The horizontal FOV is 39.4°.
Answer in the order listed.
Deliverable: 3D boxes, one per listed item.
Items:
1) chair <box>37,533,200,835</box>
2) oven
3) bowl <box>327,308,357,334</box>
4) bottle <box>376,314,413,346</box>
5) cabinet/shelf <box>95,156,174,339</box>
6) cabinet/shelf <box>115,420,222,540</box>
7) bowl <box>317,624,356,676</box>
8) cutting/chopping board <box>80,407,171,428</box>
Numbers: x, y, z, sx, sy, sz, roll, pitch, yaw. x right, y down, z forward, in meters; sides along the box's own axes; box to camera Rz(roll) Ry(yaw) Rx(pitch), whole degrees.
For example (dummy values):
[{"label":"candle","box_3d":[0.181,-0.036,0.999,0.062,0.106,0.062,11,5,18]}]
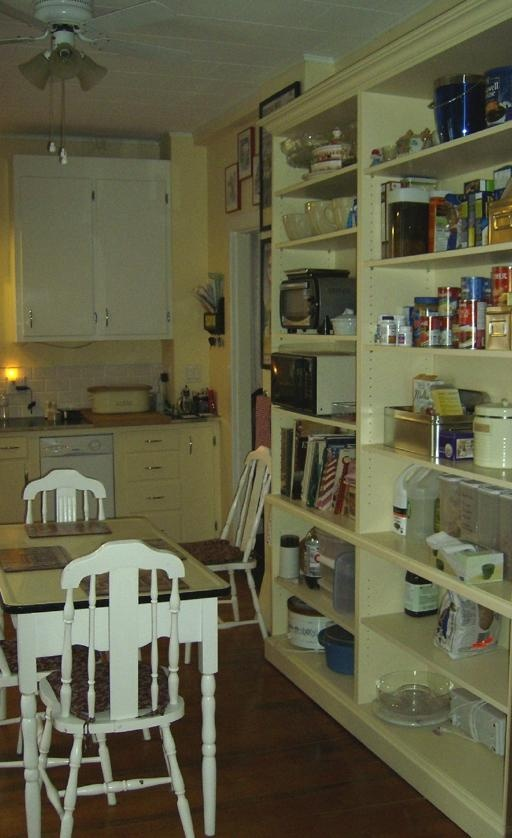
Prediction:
[{"label":"chair","box_3d":[-0.381,0.725,1.943,0.412,0.892,0.598,-1,2,-11]},{"label":"oven","box_3d":[-1.159,0.468,4.674,0.486,0.628,0.405,0,-23,-18]},{"label":"bowl","box_3d":[0.311,-0.348,2.577,0.089,0.078,0.092,1,7,0]},{"label":"bottle","box_3d":[0.438,-0.273,2.256,0.071,0.091,0.120,-3,6,-16]},{"label":"cabinet/shelf","box_3d":[-0.830,-1.137,4.836,0.506,1.179,0.158,-1,2,-13]},{"label":"cabinet/shelf","box_3d":[-0.584,0.370,4.594,0.743,1.065,0.505,-1,4,-22]},{"label":"bowl","box_3d":[0.320,0.919,2.833,0.143,0.105,0.148,2,2,0]},{"label":"cutting/chopping board","box_3d":[-0.890,-0.006,4.900,0.566,0.111,0.598,-1,2,-14]}]
